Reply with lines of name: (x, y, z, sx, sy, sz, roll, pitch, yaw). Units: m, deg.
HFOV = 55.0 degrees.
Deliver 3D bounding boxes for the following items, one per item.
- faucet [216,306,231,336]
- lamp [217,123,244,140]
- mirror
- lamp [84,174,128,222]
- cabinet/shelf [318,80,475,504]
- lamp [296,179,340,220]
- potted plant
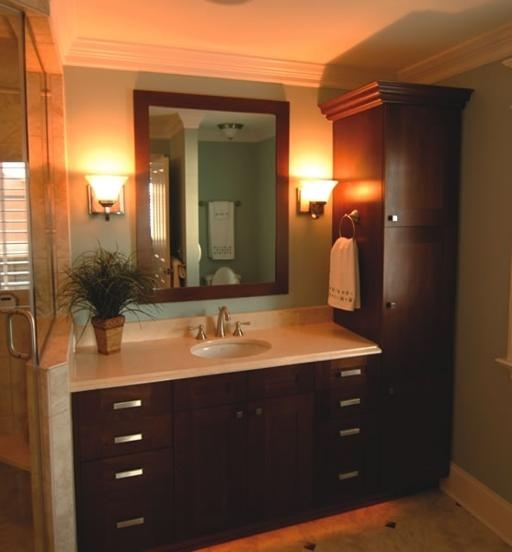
faucet: (-0.177, 0.244, 2.695, 0.078, 0.160, 0.169, -1, 8, -2)
lamp: (-0.137, -0.794, 2.674, 0.098, 0.063, 0.094, -1, 2, -8)
mirror: (-0.272, -0.465, 2.649, 1.041, 1.545, 0.031, -1, 2, -22)
lamp: (-0.739, -0.377, 2.510, 0.240, 0.314, 0.193, -2, 7, -23)
cabinet/shelf: (0.745, 0.093, 2.605, 0.688, 2.051, 0.535, 0, 8, 2)
lamp: (0.354, -0.421, 2.833, 0.190, 0.229, 0.220, 1, 2, -23)
potted plant: (-0.698, 0.080, 2.348, 0.453, 0.525, 0.459, -2, 5, -25)
